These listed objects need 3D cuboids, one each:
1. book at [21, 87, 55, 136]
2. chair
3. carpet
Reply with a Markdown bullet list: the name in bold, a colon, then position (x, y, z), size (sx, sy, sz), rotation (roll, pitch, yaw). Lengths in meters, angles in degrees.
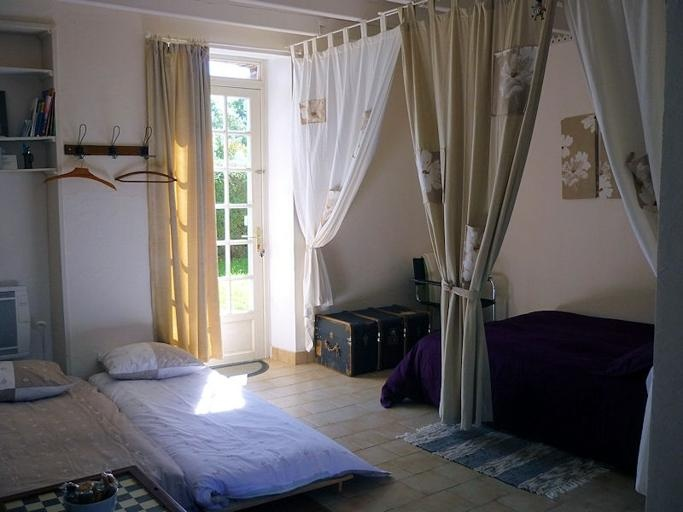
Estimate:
- **book**: position (-2.238, -1.085, 4.006), size (0.102, 0.366, 0.252), rotation (6, 3, -44)
- **chair**: position (1.169, 0.340, 5.562), size (0.722, 1.156, 0.785), rotation (-1, 1, -43)
- **carpet**: position (1.064, 1.283, 3.393), size (1.040, 0.168, 0.573), rotation (13, 9, 43)
